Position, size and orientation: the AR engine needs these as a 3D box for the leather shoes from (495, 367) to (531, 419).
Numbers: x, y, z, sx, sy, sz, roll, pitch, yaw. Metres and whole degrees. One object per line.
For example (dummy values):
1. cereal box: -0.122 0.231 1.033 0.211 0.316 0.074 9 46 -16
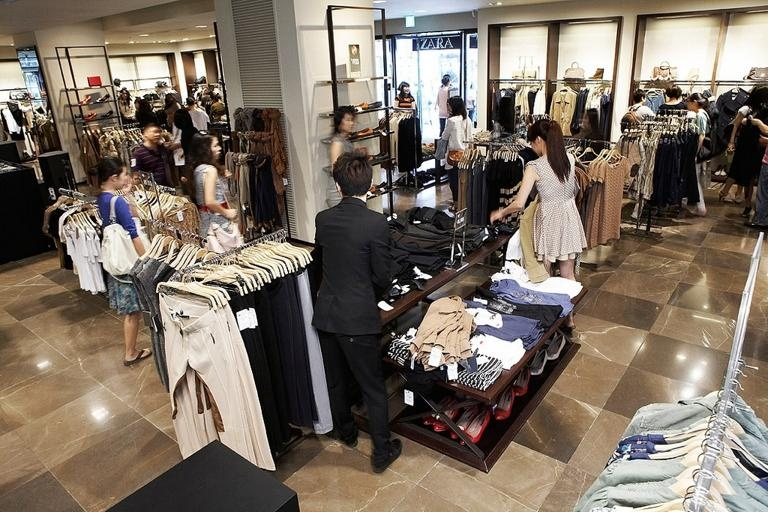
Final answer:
1. leather shoes: 1.211 1.259 4.160 0.196 0.147 0.599 -2 36 40

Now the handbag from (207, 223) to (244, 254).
1. handbag: -1.811 -0.200 5.047 0.266 0.264 0.148 -28 41 -36

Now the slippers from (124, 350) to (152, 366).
1. slippers: -2.785 1.145 5.065 0.129 0.073 0.246 17 29 34

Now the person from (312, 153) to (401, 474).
1. person: -0.204 0.480 3.592 0.772 2.514 0.545 11 24 29

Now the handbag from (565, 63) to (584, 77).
1. handbag: 4.412 -4.286 10.289 0.389 0.310 0.613 7 23 21

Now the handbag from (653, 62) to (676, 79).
1. handbag: 5.815 -3.802 9.210 0.413 0.436 0.156 2 -2 12

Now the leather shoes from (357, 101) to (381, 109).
1. leather shoes: -0.204 -2.386 7.066 0.488 0.161 0.163 -15 27 -35

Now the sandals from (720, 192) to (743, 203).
1. sandals: 6.632 -1.110 8.512 0.485 0.204 0.152 -5 18 -14
